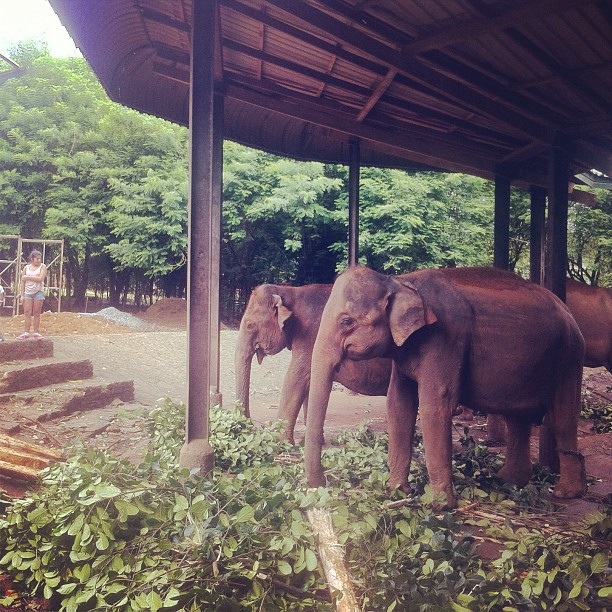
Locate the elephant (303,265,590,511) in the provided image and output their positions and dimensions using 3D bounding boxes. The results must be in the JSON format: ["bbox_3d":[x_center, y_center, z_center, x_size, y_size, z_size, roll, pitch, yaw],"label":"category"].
[{"bbox_3d":[1.062,0.558,4.197,2.277,1.739,1.236,1,4,-14],"label":"elephant"}]

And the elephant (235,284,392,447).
[{"bbox_3d":[0.270,0.631,5.764,2.179,1.765,0.714,2,8,20],"label":"elephant"}]

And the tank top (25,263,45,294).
[{"bbox_3d":[-5.041,-0.519,10.349,0.307,0.560,0.346,0,4,-29],"label":"tank top"}]
